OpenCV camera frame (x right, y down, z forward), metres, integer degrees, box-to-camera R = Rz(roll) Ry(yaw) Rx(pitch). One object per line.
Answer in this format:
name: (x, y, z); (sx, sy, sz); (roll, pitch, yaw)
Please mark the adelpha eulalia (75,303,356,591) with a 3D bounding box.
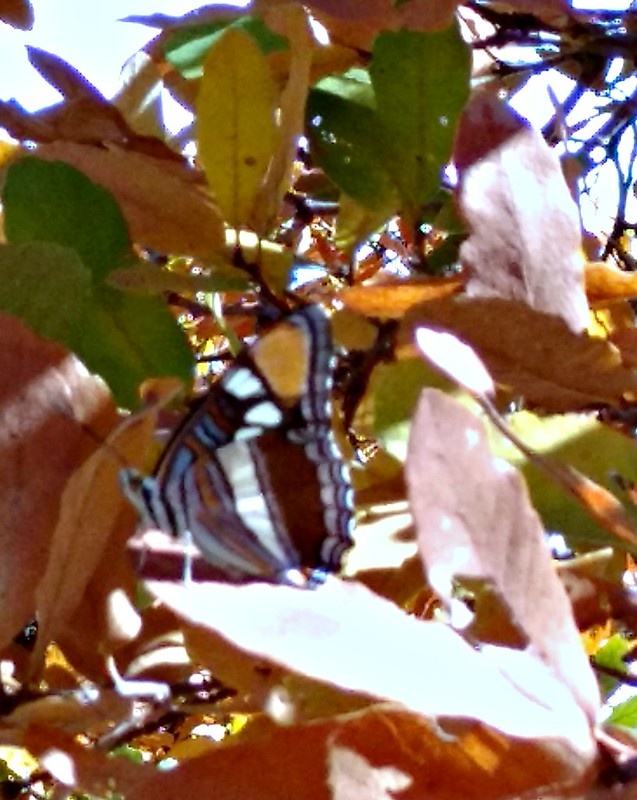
adelpha eulalia: (-0.032, 0.020, 0.348); (0.125, 0.116, 0.110); (5, -5, -9)
